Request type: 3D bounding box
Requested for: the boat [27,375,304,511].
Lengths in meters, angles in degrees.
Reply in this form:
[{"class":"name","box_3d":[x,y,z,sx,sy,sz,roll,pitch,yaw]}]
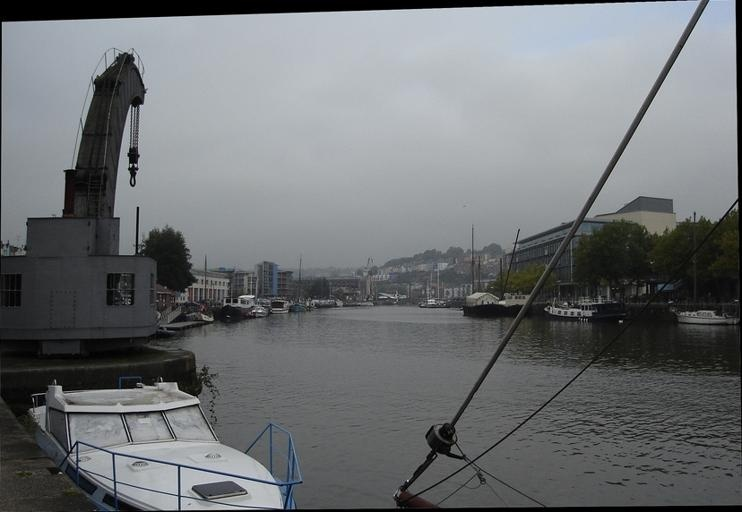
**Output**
[{"class":"boat","box_3d":[-5.186,4.698,16.168,6.749,2.570,3.389,-2,-5,36]}]
